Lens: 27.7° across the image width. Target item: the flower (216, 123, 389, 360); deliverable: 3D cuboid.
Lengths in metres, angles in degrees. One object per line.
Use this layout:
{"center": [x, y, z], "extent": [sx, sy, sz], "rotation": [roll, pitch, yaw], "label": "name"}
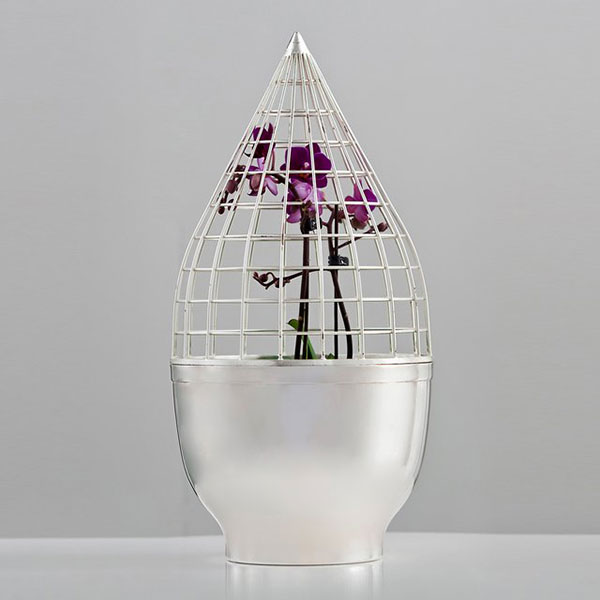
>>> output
{"center": [0.011, -0.072, 1.753], "extent": [0.267, 0.198, 0.353], "rotation": [14, -74, 33], "label": "flower"}
